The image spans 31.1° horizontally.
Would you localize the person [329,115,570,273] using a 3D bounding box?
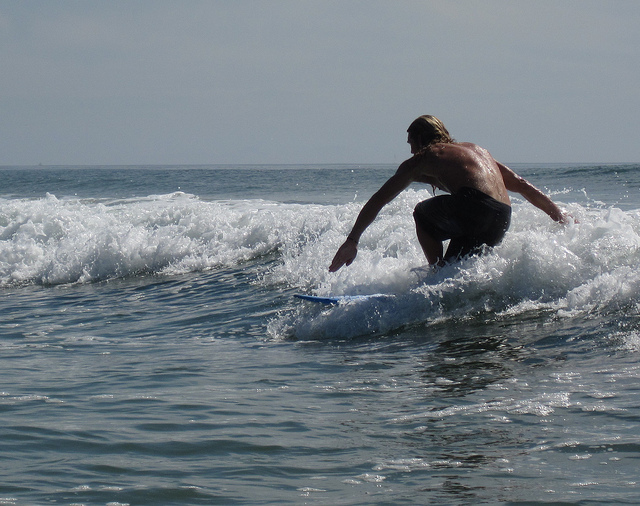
[{"bbox_3d":[0.997,-0.511,9.203,0.995,1.342,1.927,7,18,39],"label":"person"}]
